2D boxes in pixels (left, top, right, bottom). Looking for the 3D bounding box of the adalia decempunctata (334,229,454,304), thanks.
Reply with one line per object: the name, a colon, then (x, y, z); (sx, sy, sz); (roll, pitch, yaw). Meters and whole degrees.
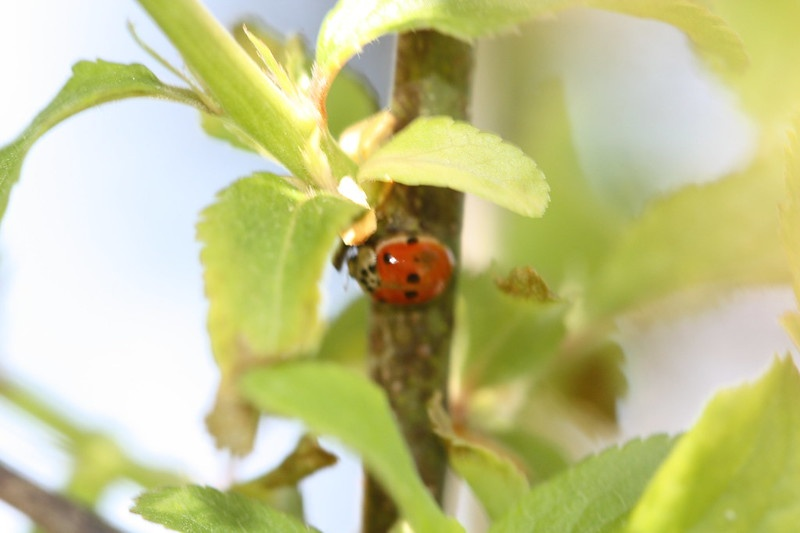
adalia decempunctata: (-0.002, 0.002, 0.562); (0.081, 0.045, 0.032); (4, 16, -3)
